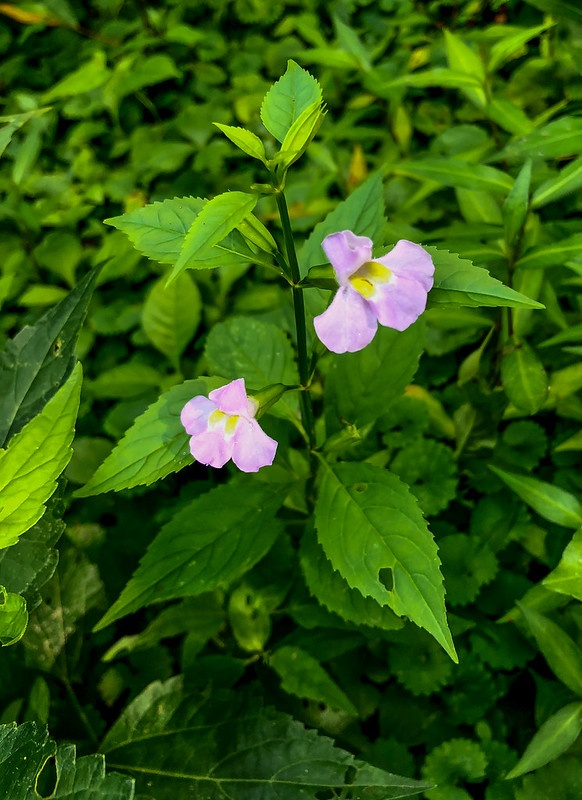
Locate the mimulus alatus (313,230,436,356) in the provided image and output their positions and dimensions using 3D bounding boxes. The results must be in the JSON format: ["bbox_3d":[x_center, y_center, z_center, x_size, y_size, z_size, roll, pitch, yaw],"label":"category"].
[{"bbox_3d":[0.134,-0.172,1.230,0.225,0.187,0.076,-10,14,-8],"label":"mimulus alatus"}]

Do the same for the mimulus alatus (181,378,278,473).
[{"bbox_3d":[-0.098,0.047,1.349,0.170,0.074,0.162,-28,66,11],"label":"mimulus alatus"}]
